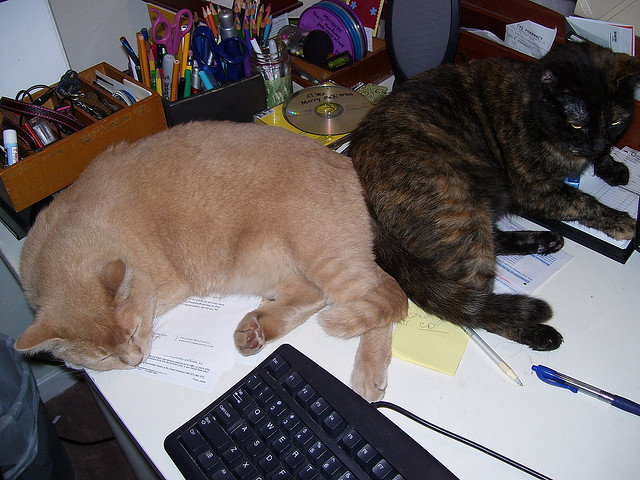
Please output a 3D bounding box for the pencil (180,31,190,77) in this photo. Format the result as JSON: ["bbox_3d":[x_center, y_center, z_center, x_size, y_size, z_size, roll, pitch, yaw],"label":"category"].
[{"bbox_3d":[-0.419,-0.576,1.643,0.018,0.166,0.019,9,3,35],"label":"pencil"}]

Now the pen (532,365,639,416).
[{"bbox_3d":[0.597,0.336,1.182,0.233,0.030,0.028,18,47,17],"label":"pen"}]

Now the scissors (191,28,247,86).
[{"bbox_3d":[-0.324,-0.576,1.666,0.218,0.220,0.059,-3,0,-16],"label":"scissors"}]

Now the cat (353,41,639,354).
[{"bbox_3d":[0.502,-0.012,1.687,0.783,0.422,0.985,0,49,17],"label":"cat"}]

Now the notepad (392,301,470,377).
[{"bbox_3d":[0.275,0.245,1.273,0.159,0.055,0.204,-11,31,-16],"label":"notepad"}]

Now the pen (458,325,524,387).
[{"bbox_3d":[0.407,0.270,1.245,0.026,0.019,0.194,-24,50,-23],"label":"pen"}]

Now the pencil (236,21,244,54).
[{"bbox_3d":[-0.260,-0.649,1.719,0.017,0.018,0.138,-7,69,-2],"label":"pencil"}]

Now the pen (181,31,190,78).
[{"bbox_3d":[-0.421,-0.571,1.660,0.016,0.148,0.017,14,0,-16],"label":"pen"}]

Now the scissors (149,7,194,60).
[{"bbox_3d":[-0.453,-0.653,1.669,0.140,0.112,0.146,-29,52,-26],"label":"scissors"}]

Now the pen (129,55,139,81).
[{"bbox_3d":[-0.602,-0.542,1.705,0.013,0.070,0.008,2,43,15],"label":"pen"}]

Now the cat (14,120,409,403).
[{"bbox_3d":[-0.277,0.020,1.415,1.037,0.337,0.658,4,45,4],"label":"cat"}]

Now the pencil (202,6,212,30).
[{"bbox_3d":[-0.361,-0.697,1.682,0.012,0.090,0.010,-17,-1,16],"label":"pencil"}]
